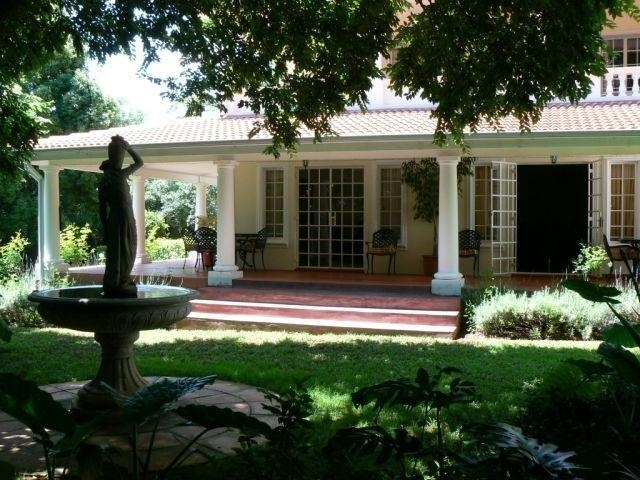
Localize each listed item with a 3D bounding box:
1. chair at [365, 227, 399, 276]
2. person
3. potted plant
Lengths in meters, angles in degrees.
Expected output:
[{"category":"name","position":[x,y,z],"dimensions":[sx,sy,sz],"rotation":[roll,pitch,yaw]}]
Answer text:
[{"category":"chair","position":[1.460,0.237,12.708],"dimensions":[0.769,1.078,0.916],"rotation":[0,-3,4]},{"category":"person","position":[-1.736,-0.224,4.742],"dimensions":[0.344,1.426,0.396],"rotation":[2,-3,-21]},{"category":"potted plant","position":[2.630,-0.581,12.460],"dimensions":[1.549,2.629,0.826],"rotation":[0,-3,7]}]
